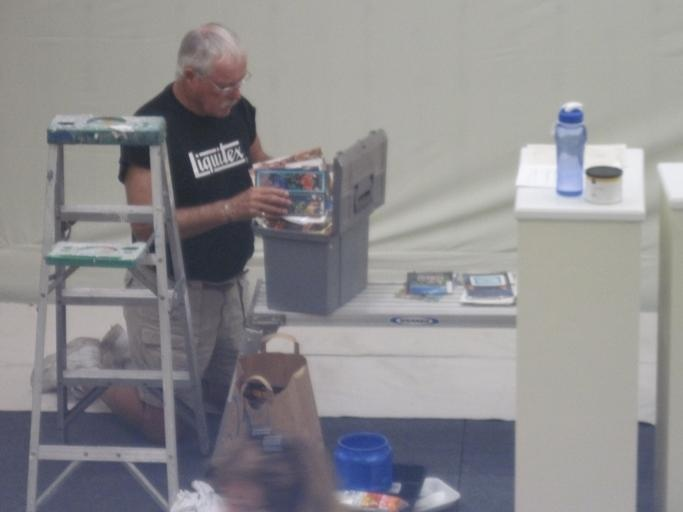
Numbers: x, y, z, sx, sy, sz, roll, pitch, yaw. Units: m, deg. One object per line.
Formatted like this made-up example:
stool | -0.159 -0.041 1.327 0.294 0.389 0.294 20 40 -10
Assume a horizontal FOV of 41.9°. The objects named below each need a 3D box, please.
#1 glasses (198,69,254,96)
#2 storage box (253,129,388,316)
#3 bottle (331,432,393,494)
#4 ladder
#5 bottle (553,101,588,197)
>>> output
glasses | -0.473 -0.674 3.482 0.189 0.095 0.063 -3 5 -16
storage box | -0.081 -0.167 3.980 0.555 0.736 0.622 -3 19 -6
bottle | 0.084 0.815 3.542 0.195 0.179 0.208 -1 -2 1
ladder | -0.897 0.232 3.430 0.647 1.548 0.651 -2 4 -6
bottle | 0.750 -0.346 2.912 0.097 0.301 0.173 -1 4 14
